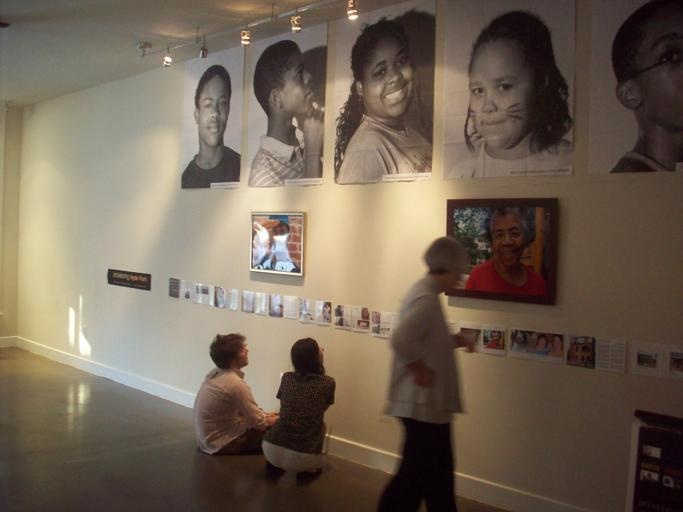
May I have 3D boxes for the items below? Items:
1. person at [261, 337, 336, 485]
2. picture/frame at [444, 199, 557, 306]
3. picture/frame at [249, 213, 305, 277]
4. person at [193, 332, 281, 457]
[{"bbox_3d":[-0.393,1.383,5.021,0.665,1.215,0.330,0,7,-9],"label":"person"},{"bbox_3d":[1.383,-0.035,4.487,0.841,0.870,0.034,3,3,40],"label":"picture/frame"},{"bbox_3d":[-0.726,-0.153,5.944,0.729,0.670,0.038,3,-3,-44],"label":"picture/frame"},{"bbox_3d":[-1.023,1.434,5.760,0.916,1.255,0.958,4,5,-4],"label":"person"}]
